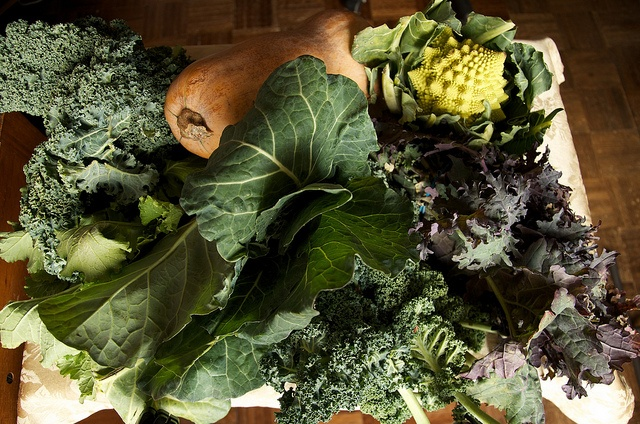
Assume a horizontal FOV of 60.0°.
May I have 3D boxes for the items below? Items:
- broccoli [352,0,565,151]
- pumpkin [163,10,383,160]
[{"bbox_3d":[0.399,-0.367,1.627,0.452,0.249,0.456,45,96,7],"label":"broccoli"},{"bbox_3d":[-0.111,-0.337,1.583,0.598,0.272,0.290,-33,57,-18],"label":"pumpkin"}]
